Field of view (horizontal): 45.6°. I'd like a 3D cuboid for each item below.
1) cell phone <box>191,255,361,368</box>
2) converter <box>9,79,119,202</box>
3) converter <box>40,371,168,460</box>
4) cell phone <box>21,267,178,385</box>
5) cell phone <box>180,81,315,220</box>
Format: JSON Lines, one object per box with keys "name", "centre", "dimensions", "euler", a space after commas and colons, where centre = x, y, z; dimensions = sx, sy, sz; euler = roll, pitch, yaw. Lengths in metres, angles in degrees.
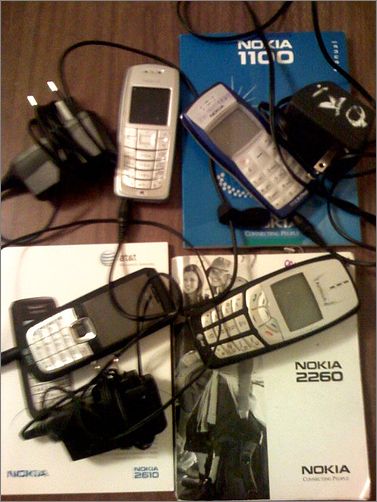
{"name": "cell phone", "centre": [0.087, 0.060, 0.447], "dimensions": [0.168, 0.043, 0.065], "euler": [-17, 61, -9]}
{"name": "converter", "centre": [-0.141, -0.105, 0.463], "dimensions": [0.106, 0.061, 0.108], "euler": [39, 67, 20]}
{"name": "converter", "centre": [-0.075, 0.159, 0.428], "dimensions": [0.090, 0.036, 0.076], "euler": [-27, 84, 2]}
{"name": "cell phone", "centre": [-0.082, 0.075, 0.446], "dimensions": [0.150, 0.031, 0.078], "euler": [-26, 77, -9]}
{"name": "cell phone", "centre": [0.065, -0.103, 0.518], "dimensions": [0.083, 0.044, 0.186], "euler": [-38, 91, 3]}
